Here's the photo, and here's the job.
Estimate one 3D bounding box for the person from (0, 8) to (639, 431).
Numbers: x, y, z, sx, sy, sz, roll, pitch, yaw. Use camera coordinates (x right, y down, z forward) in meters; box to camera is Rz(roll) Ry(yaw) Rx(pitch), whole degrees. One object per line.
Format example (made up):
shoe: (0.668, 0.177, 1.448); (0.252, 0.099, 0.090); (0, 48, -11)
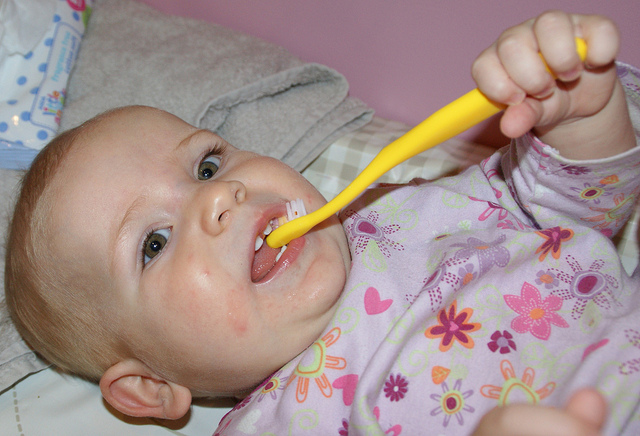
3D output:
person: (0.030, 0.129, 1.301); (1.159, 0.501, 0.923); (7, 52, 22)

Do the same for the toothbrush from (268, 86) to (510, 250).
toothbrush: (0.161, -0.112, 1.430); (0.712, 0.102, 0.083); (-35, 17, 34)
